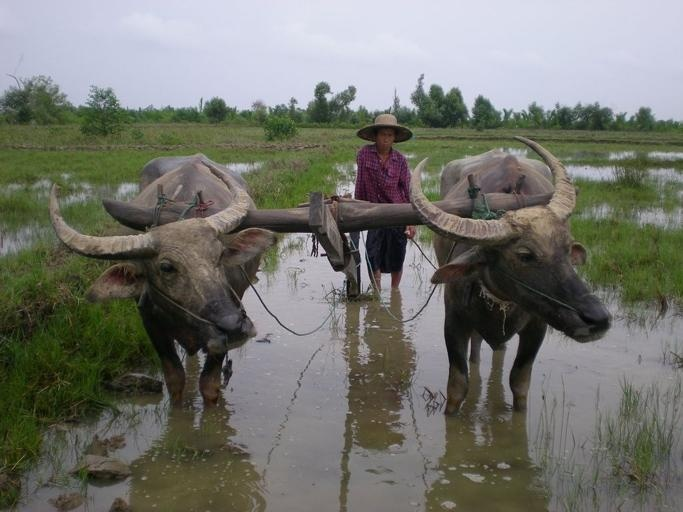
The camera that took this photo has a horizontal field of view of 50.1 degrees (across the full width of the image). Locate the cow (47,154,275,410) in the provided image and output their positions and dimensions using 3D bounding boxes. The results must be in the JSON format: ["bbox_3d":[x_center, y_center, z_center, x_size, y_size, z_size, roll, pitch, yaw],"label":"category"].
[{"bbox_3d":[-1.605,-0.030,7.341,1.654,2.352,4.004,-4,21,-9],"label":"cow"}]

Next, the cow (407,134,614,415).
[{"bbox_3d":[1.356,0.257,6.934,1.453,2.735,3.379,2,14,4],"label":"cow"}]

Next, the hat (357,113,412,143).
[{"bbox_3d":[0.484,-1.487,8.387,0.587,0.351,0.877,2,7,-1],"label":"hat"}]
